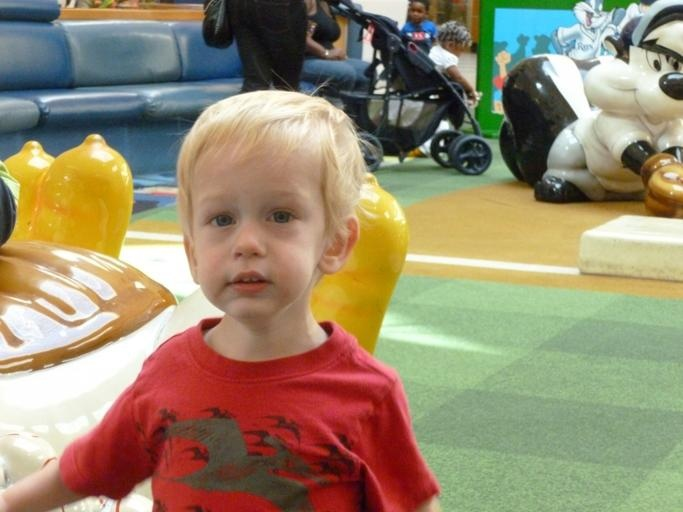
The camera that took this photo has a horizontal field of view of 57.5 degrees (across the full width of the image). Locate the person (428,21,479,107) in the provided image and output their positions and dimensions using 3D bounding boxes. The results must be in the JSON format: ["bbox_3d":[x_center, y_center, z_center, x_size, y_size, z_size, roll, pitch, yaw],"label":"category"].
[{"bbox_3d":[1.149,-2.001,6.462,0.549,0.788,0.584,-7,20,-30],"label":"person"}]

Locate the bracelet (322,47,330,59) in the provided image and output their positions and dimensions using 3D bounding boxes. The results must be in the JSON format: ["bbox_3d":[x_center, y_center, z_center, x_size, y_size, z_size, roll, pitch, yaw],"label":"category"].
[{"bbox_3d":[-0.139,-1.770,5.393,0.067,0.095,0.097,-2,-1,-2],"label":"bracelet"}]
